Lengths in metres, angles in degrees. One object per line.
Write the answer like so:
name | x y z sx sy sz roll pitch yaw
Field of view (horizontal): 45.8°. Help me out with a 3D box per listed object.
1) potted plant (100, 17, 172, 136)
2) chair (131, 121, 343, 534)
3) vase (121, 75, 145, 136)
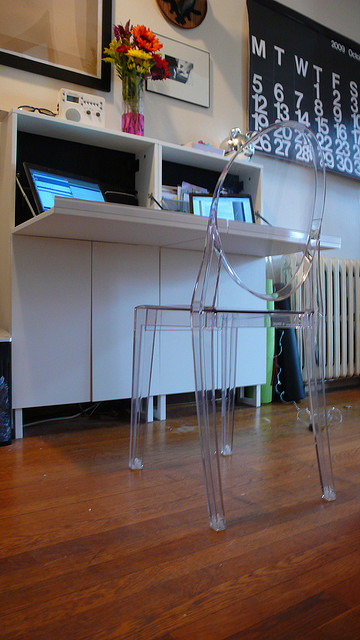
potted plant | -0.204 -1.052 1.902 0.236 0.463 0.223 -3 23 -20
chair | 0.003 0.005 1.045 0.378 0.840 0.365 16 18 14
vase | -0.211 -0.954 1.916 0.093 0.263 0.115 0 2 -12
